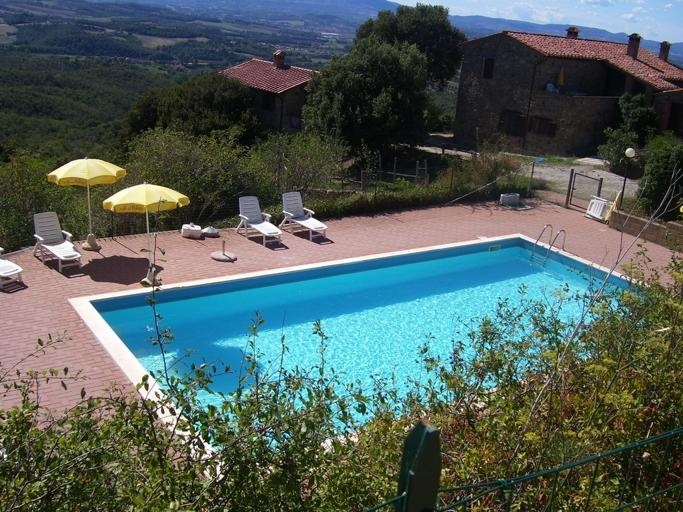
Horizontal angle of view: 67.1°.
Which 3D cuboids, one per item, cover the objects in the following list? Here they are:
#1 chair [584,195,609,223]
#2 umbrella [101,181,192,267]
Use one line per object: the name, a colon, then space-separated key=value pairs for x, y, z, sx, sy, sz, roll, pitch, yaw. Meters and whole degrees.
chair: x=8.758 y=-1.601 z=17.799 sx=0.434 sy=0.804 sz=0.801 roll=-12 pitch=29 yaw=-26
umbrella: x=-4.130 y=-1.001 z=10.988 sx=1.627 sy=0.955 sz=0.841 roll=-9 pitch=23 yaw=-22
